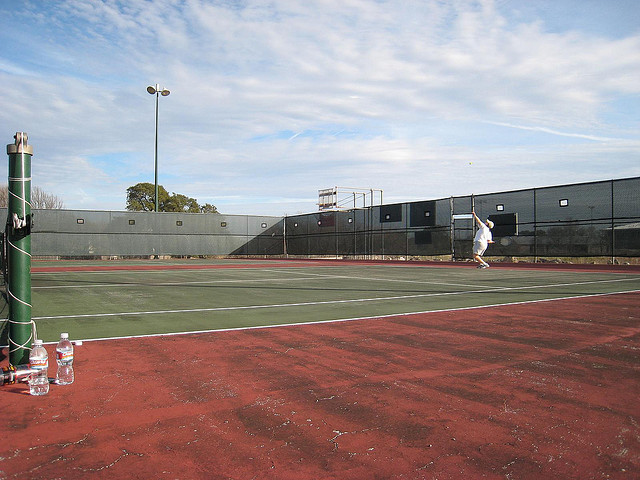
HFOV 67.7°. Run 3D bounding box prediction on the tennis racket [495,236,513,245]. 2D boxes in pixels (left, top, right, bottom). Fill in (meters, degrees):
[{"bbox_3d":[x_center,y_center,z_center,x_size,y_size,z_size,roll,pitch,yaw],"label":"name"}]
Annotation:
[{"bbox_3d":[9.932,-0.019,25.514,0.144,0.445,0.916,-2,3,-31],"label":"tennis racket"}]
